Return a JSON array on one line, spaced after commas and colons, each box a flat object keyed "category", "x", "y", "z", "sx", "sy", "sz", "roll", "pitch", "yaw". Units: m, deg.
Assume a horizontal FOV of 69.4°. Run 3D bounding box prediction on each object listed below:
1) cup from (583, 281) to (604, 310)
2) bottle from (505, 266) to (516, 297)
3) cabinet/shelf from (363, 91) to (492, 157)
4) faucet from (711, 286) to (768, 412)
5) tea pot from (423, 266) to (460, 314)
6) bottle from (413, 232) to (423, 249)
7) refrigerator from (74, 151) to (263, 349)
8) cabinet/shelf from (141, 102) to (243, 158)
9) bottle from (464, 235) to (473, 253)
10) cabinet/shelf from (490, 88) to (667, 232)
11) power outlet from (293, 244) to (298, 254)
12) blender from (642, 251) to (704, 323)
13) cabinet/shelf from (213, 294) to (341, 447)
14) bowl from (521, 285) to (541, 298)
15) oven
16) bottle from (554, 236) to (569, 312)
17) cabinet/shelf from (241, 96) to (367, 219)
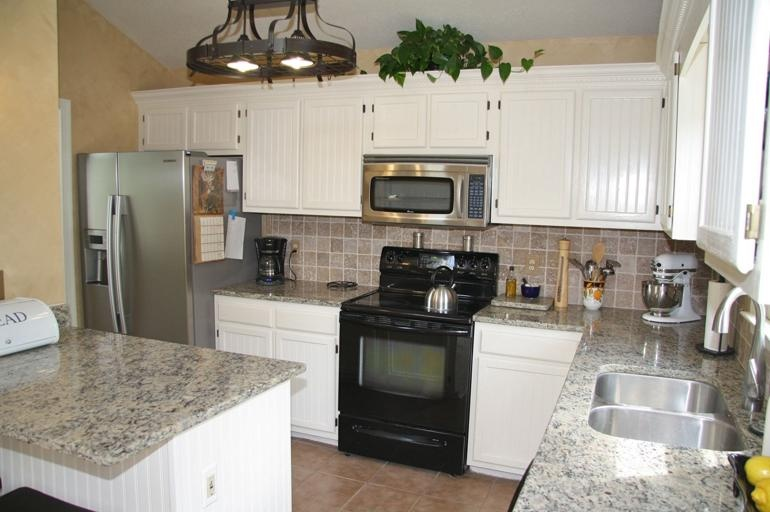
[{"category": "cup", "x": 1.381, "y": 0.267, "z": 3.717, "sx": 0.123, "sy": 0.206, "sz": 0.096, "roll": 5, "pitch": 9, "yaw": 27}, {"category": "bottle", "x": 0.901, "y": 0.184, "z": 3.973, "sx": 0.082, "sy": 0.197, "sz": 0.177, "roll": 2, "pitch": 8, "yaw": 12}, {"category": "cabinet/shelf", "x": 0.289, "y": -0.919, "z": 3.911, "sx": 0.882, "sy": 0.427, "sz": 0.142, "roll": -2, "pitch": 7, "yaw": -7}, {"category": "faucet", "x": 1.408, "y": 0.364, "z": 2.206, "sx": 0.208, "sy": 0.519, "sz": 0.401, "roll": 6, "pitch": 9, "yaw": 34}, {"category": "tea pot", "x": 0.397, "y": 0.250, "z": 3.803, "sx": 0.235, "sy": 0.340, "sz": 0.317, "roll": 0, "pitch": -3, "yaw": 8}, {"category": "bottle", "x": 0.254, "y": -0.115, "z": 4.183, "sx": 0.075, "sy": 0.117, "sz": 0.056, "roll": 1, "pitch": 8, "yaw": 0}, {"category": "refrigerator", "x": -1.758, "y": -0.044, "z": 4.159, "sx": 1.068, "sy": 1.436, "sz": 0.446, "roll": 2, "pitch": 8, "yaw": 11}, {"category": "cabinet/shelf", "x": -1.548, "y": -1.013, "z": 4.462, "sx": 0.845, "sy": 0.366, "sz": 0.098, "roll": 3, "pitch": 4, "yaw": 10}, {"category": "bottle", "x": 0.614, "y": -0.090, "z": 4.073, "sx": 0.075, "sy": 0.116, "sz": 0.044, "roll": -1, "pitch": 8, "yaw": -8}, {"category": "cabinet/shelf", "x": 1.321, "y": -0.683, "z": 3.731, "sx": 1.067, "sy": 0.936, "sz": 0.373, "roll": 9, "pitch": 22, "yaw": 34}, {"category": "power outlet", "x": -0.737, "y": -0.054, "z": 4.610, "sx": 0.048, "sy": 0.075, "sz": 0.028, "roll": 2, "pitch": 8, "yaw": 9}, {"category": "blender", "x": 1.780, "y": 0.202, "z": 3.464, "sx": 0.374, "sy": 0.430, "sz": 0.235, "roll": -3, "pitch": 9, "yaw": -26}, {"category": "cabinet/shelf", "x": -0.729, "y": 0.793, "z": 4.231, "sx": 1.070, "sy": 0.984, "sz": 0.398, "roll": 3, "pitch": 5, "yaw": 20}, {"category": "bowl", "x": 1.019, "y": 0.248, "z": 3.864, "sx": 0.099, "sy": 0.066, "sz": 0.104, "roll": 1, "pitch": -3, "yaw": 0}, {"category": "oven", "x": 0.209, "y": 0.917, "z": 3.948, "sx": 0.961, "sy": 0.989, "sz": 0.732, "roll": 3, "pitch": -1, "yaw": 16}, {"category": "bottle", "x": 1.195, "y": 0.125, "z": 3.751, "sx": 0.085, "sy": 0.454, "sz": 0.149, "roll": 2, "pitch": 8, "yaw": 13}, {"category": "cabinet/shelf", "x": -0.566, "y": -0.759, "z": 4.139, "sx": 0.938, "sy": 0.787, "sz": 0.300, "roll": 2, "pitch": 4, "yaw": 17}]
